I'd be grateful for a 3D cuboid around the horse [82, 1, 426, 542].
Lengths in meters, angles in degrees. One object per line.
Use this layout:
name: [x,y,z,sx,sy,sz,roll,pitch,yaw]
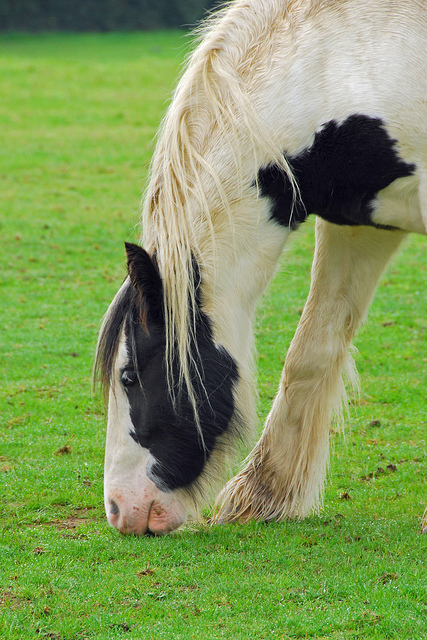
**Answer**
horse: [0.433,-0.359,6.340,1.761,3.123,3.208,1,9,10]
